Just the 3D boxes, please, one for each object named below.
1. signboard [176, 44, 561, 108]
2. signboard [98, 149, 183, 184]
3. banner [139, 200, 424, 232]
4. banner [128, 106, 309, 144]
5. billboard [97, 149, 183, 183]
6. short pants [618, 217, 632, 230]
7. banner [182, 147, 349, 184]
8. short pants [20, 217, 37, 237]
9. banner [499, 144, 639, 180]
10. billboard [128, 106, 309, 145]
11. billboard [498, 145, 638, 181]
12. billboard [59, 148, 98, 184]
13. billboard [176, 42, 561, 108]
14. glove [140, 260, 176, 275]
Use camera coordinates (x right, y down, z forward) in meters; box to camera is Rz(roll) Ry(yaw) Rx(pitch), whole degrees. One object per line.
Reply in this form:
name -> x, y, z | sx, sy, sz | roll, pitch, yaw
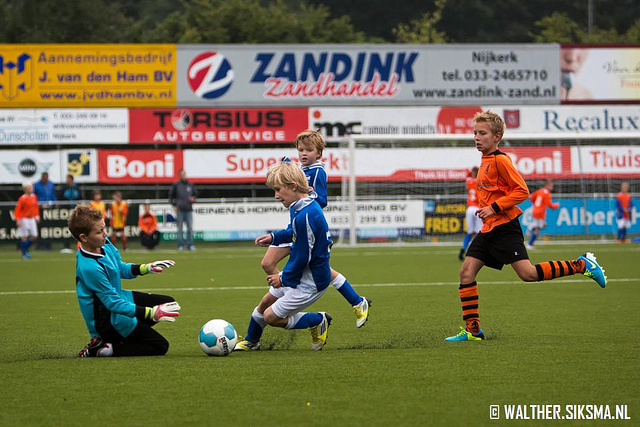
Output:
signboard -> 1.523, -4.381, 33.395 | 11.806, 1.764, 0.372 | -3, -1, -5
signboard -> -5.445, -1.520, 33.050 | 2.972, 1.335, 0.236 | -2, 37, -12
banner -> -0.854, 0.112, 32.092 | 8.086, 0.814, 0.661 | -3, -1, -5
banner -> -3.271, -2.727, 33.115 | 6.770, 1.472, 0.095 | -1, -35, -4
billboard -> -5.610, -1.455, 33.029 | 2.486, 1.110, 0.218 | -1, -7, -9
short pants -> 9.314, 0.336, 32.322 | 0.357, 0.343, 0.586 | -3, -2, 16
banner -> -1.880, -1.513, 32.880 | 5.880, 1.241, 0.079 | 1, 25, 17
short pants -> -8.165, 0.460, 29.711 | 0.513, 0.751, 0.409 | 2, -10, -28
banner -> 8.059, -1.607, 34.314 | 4.525, 1.357, 1.869 | 6, 9, 1
billboard -> -3.288, -2.742, 33.101 | 6.610, 1.456, 0.079 | -1, -34, -4
billboard -> 8.119, -1.562, 33.474 | 3.965, 1.066, 0.482 | -3, -1, -4
billboard -> -7.475, -1.487, 32.858 | 1.045, 1.010, 0.384 | 0, 1, -3
billboard -> 1.070, -4.382, 33.479 | 10.663, 2.022, 0.219 | 0, 21, -4
glove -> -3.073, 1.022, 19.787 | 0.468, 0.150, 0.349 | -8, 7, 23
